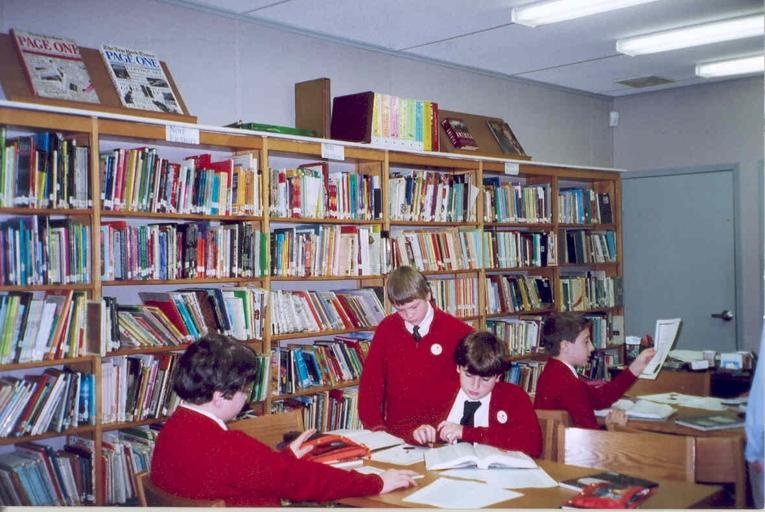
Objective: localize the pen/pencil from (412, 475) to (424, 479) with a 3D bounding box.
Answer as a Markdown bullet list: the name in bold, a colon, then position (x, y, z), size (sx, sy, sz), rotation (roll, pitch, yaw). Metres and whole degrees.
- **pen/pencil**: position (0.177, 1.057, 2.915), size (0.044, 0.015, 0.007), rotation (6, -21, -42)

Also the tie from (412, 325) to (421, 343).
- **tie**: position (0.204, 0.469, 3.647), size (0.053, 0.077, 0.021), rotation (-17, -11, 14)

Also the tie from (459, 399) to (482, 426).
- **tie**: position (0.487, 0.878, 3.414), size (0.104, 0.132, 0.042), rotation (20, 6, 19)
